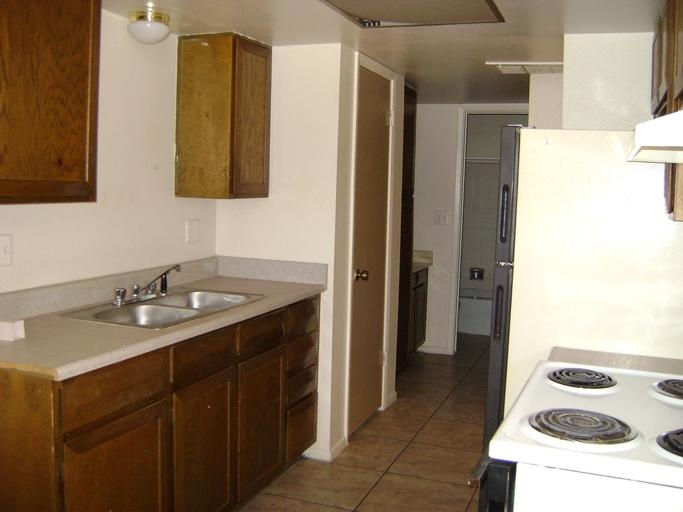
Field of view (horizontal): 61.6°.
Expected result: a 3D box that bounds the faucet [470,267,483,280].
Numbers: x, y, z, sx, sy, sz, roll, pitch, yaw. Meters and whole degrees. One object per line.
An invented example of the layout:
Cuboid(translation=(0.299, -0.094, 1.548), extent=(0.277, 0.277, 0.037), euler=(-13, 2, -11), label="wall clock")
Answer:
Cuboid(translation=(1.497, 0.199, 6.368), extent=(0.140, 0.142, 0.126), euler=(4, 9, 22), label="faucet")

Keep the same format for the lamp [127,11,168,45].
Cuboid(translation=(-0.932, -1.102, 2.758), extent=(0.152, 0.101, 0.151), euler=(-24, 40, -39), label="lamp")

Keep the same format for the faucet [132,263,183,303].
Cuboid(translation=(-0.952, 0.123, 3.000), extent=(0.181, 0.143, 0.440), euler=(3, 8, 11), label="faucet")

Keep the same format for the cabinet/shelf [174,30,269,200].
Cuboid(translation=(-0.659, -0.762, 3.165), extent=(0.522, 0.869, 0.307), euler=(0, 8, -10), label="cabinet/shelf")

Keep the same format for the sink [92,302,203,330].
Cuboid(translation=(-0.957, 0.286, 2.727), extent=(0.199, 0.086, 0.241), euler=(11, 15, 29), label="sink")
